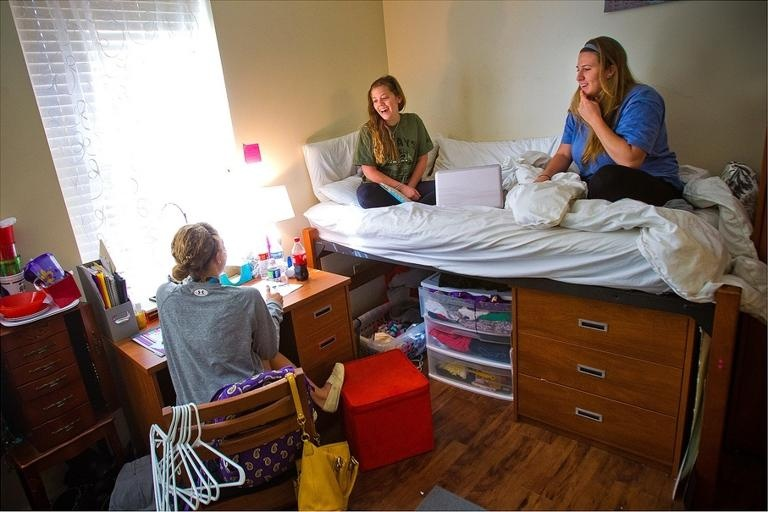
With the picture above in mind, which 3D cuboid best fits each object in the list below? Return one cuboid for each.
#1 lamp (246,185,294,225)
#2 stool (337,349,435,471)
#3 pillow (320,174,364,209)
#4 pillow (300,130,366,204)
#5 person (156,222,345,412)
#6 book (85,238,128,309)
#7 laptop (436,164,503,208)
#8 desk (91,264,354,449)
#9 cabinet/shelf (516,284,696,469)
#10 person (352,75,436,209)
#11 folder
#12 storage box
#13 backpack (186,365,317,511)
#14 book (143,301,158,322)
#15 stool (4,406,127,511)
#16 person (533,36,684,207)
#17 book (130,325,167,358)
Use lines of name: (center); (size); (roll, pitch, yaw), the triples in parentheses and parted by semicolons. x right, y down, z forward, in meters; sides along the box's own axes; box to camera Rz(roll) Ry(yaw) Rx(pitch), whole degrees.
lamp: (-0.743, -0.333, 3.115); (0.242, 0.252, 0.239); (0, -1, 2)
stool: (-0.018, 0.860, 2.756); (0.563, 0.424, 0.560); (-22, 25, -40)
pillow: (-0.272, -0.443, 3.334); (0.224, 0.056, 0.231); (-17, 33, -22)
pillow: (-0.386, -0.593, 3.446); (0.538, 0.484, 0.143); (-10, 7, -42)
person: (-0.707, 0.415, 2.632); (0.582, 1.144, 0.982); (5, 9, 26)
book: (-1.470, 0.084, 2.563); (0.144, 0.338, 0.217); (-21, 22, -33)
laptop: (0.482, -0.396, 2.996); (0.425, 0.253, 0.295); (-6, 5, -9)
desk: (-0.792, 0.596, 2.967); (1.170, 0.795, 0.619); (-21, 32, -28)
cabinet/shelf: (1.225, 0.591, 2.682); (0.517, 0.856, 0.889); (-13, 15, -42)
person: (0.112, -0.744, 3.314); (0.683, 0.864, 0.578); (-8, 20, -10)
folder: (-1.401, 0.231, 2.558); (0.146, 0.354, 0.169); (26, 32, 34)
storage box: (0.639, 0.506, 3.096); (0.639, 0.591, 0.470); (6, 14, 45)
backpack: (-0.557, 0.791, 2.061); (0.459, 0.600, 0.317); (-18, 39, -37)
book: (-1.304, 0.312, 2.731); (0.122, 0.084, 0.068); (17, 28, 41)
stool: (-1.588, 1.005, 2.410); (0.343, 0.414, 0.457); (-6, 17, 40)
person: (1.238, -0.724, 2.824); (0.752, 0.969, 0.731); (-16, 15, -37)
book: (-1.203, 0.440, 2.523); (0.172, 0.035, 0.168); (13, 23, 27)
